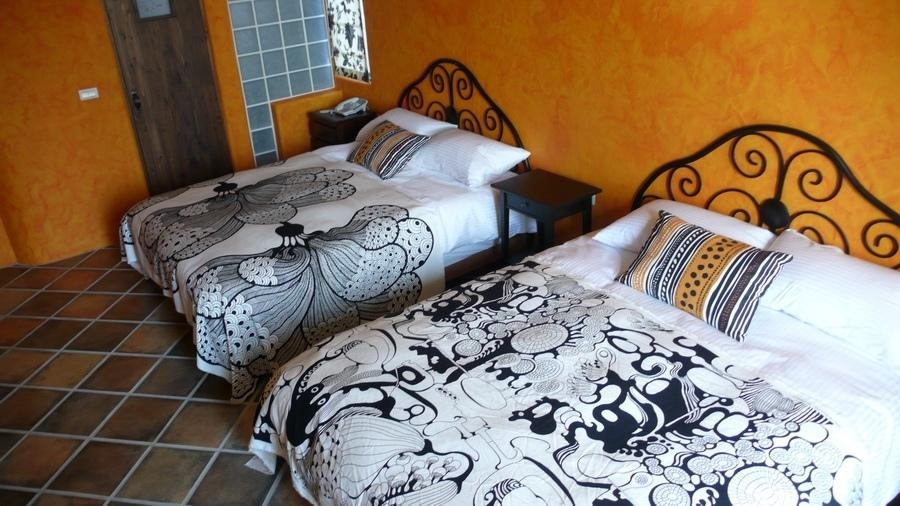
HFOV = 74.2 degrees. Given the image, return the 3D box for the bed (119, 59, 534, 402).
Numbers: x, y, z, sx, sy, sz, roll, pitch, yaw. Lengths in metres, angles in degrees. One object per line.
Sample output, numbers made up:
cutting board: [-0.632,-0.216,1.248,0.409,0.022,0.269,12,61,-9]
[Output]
bed: [-0.703,0.153,5.838,3.567,1.744,2.743,-26,53,-27]

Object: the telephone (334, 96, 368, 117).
telephone: [-1.035,-1.562,6.316,0.300,0.091,0.212,-23,40,-24]
